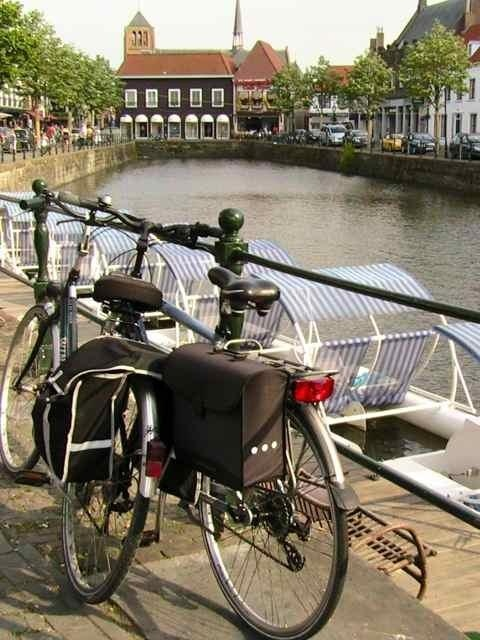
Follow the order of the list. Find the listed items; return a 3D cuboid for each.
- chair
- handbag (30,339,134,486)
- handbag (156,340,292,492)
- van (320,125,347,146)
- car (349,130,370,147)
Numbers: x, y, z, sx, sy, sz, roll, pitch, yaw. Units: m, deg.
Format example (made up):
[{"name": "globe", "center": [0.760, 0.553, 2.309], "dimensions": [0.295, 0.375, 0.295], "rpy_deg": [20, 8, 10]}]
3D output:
[{"name": "chair", "center": [0.849, 0.115, 7.333], "dimensions": [1.419, 1.265, 2.317], "rpy_deg": [-3, 7, -21]}, {"name": "handbag", "center": [-0.432, 0.241, 1.754], "dimensions": [0.428, 0.394, 0.177], "rpy_deg": [0, -2, 40]}, {"name": "handbag", "center": [-0.037, 0.217, 1.461], "dimensions": [0.149, 0.319, 0.332], "rpy_deg": [-3, 12, -32]}, {"name": "van", "center": [9.394, -19.221, 67.971], "dimensions": [2.378, 2.105, 4.113], "rpy_deg": [-3, 10, -12]}, {"name": "car", "center": [10.932, -16.672, 60.163], "dimensions": [1.578, 1.497, 2.887], "rpy_deg": [-2, 13, -7]}]
